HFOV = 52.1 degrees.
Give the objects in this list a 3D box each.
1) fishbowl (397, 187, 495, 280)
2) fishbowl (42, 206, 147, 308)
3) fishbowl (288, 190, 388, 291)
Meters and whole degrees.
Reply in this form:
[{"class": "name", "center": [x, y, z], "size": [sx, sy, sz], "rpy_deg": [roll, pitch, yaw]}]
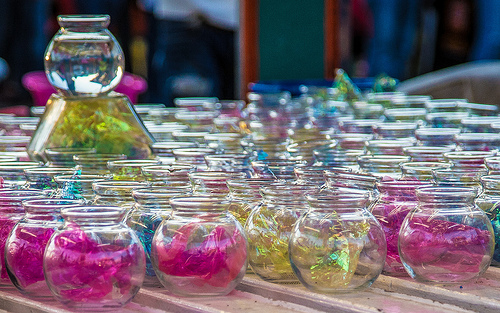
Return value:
[{"class": "fishbowl", "center": [0.409, 0.170, 1.168], "size": [0.271, 0.165, 0.219], "rpy_deg": [0, -4, -16]}, {"class": "fishbowl", "center": [-0.294, 0.198, 1.077], "size": [0.249, 0.159, 0.227], "rpy_deg": [-2, -2, 31]}, {"class": "fishbowl", "center": [0.182, 0.180, 1.100], "size": [0.240, 0.144, 0.191], "rpy_deg": [1, -2, 8]}]
